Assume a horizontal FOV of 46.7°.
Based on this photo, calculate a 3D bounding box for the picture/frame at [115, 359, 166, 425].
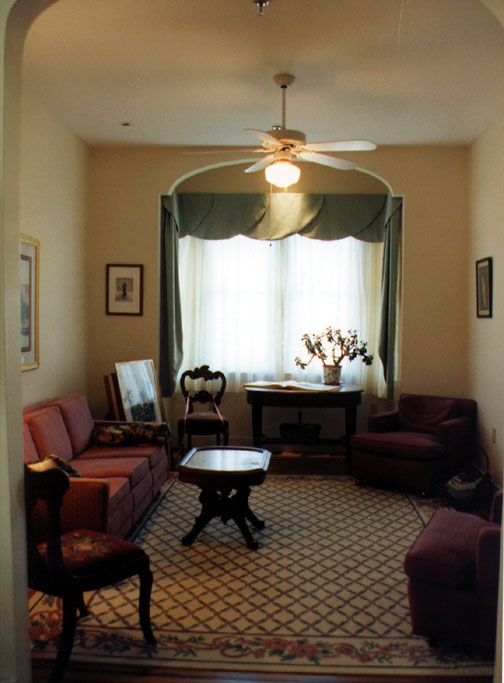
[{"bbox_3d":[-0.914,0.418,4.654,0.044,0.492,0.470,-13,2,18],"label":"picture/frame"}]

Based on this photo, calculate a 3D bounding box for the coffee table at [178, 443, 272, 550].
[{"bbox_3d":[-0.172,0.872,3.402,0.499,0.429,0.451,0,9,6],"label":"coffee table"}]

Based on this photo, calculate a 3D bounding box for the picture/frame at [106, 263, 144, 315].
[{"bbox_3d":[-1.109,-0.474,5.096,0.407,0.610,0.021,0,-1,-3],"label":"picture/frame"}]

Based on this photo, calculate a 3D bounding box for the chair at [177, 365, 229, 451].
[{"bbox_3d":[-0.441,0.635,5.117,0.410,0.832,0.509,-1,-2,-10],"label":"chair"}]

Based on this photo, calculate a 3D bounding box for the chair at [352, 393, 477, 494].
[{"bbox_3d":[1.275,0.689,4.537,0.755,0.738,0.711,4,-4,-41],"label":"chair"}]

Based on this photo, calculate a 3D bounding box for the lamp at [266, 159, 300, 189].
[{"bbox_3d":[0.195,-1.040,3.717,0.285,0.174,0.301,1,4,7],"label":"lamp"}]

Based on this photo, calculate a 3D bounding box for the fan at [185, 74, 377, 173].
[{"bbox_3d":[0.283,-1.184,3.701,0.862,0.610,0.910,4,7,22],"label":"fan"}]

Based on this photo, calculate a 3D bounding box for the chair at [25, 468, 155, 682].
[{"bbox_3d":[-0.669,0.799,2.190,0.385,0.783,0.530,2,2,37],"label":"chair"}]

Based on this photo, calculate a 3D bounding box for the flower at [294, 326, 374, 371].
[{"bbox_3d":[0.759,0.064,5.555,0.600,0.392,0.410,1,0,8],"label":"flower"}]

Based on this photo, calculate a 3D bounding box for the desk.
[{"bbox_3d":[0.468,0.525,5.282,1.113,0.830,0.673,1,12,4],"label":"desk"}]

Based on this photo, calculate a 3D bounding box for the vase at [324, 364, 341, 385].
[{"bbox_3d":[0.727,0.309,5.322,0.154,0.175,0.162,2,0,-11],"label":"vase"}]
